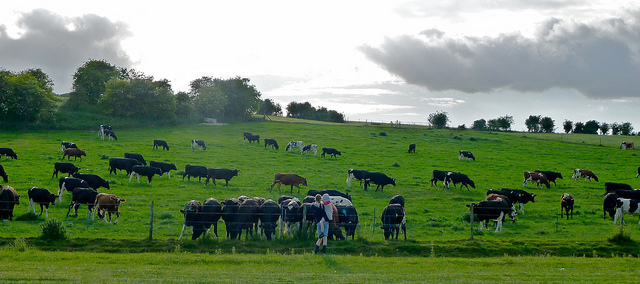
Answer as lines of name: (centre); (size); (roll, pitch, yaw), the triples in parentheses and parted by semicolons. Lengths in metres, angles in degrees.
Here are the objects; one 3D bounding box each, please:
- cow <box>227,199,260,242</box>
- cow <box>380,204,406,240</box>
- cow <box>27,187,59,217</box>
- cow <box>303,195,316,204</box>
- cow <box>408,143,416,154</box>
cow: (-16.764, 15.617, 182.406); (3.660, 5.608, 12.021); (5, 5, 12)
cow: (15.296, 16.147, 187.091); (4.726, 6.963, 1.909); (3, -2, 3)
cow: (-57.380, 12.627, 189.768); (5.175, 6.137, 4.394); (2, -1, -23)
cow: (-2.024, 11.717, 189.090); (2.250, 1.344, 3.083); (2, -1, -2)
cow: (22.733, 1.550, 224.358); (1.883, 2.016, 1.098); (1, -3, 44)
